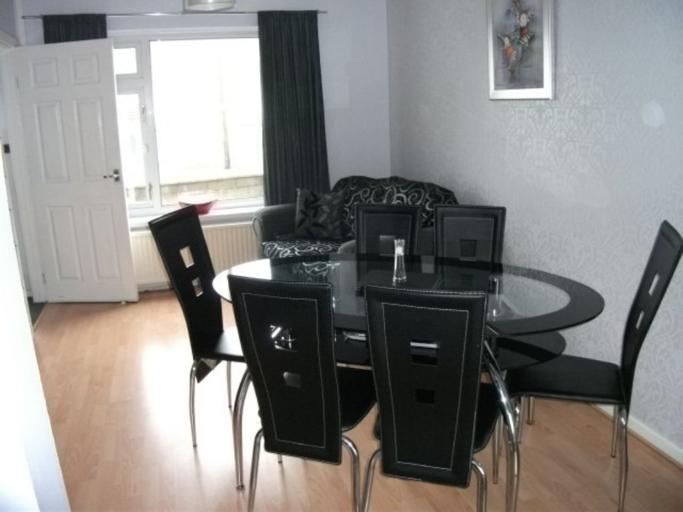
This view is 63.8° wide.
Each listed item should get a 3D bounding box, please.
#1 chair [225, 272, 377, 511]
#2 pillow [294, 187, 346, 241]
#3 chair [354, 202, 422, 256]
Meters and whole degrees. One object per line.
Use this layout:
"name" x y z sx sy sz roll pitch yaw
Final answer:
"chair" -0.161 0.646 2.398 0.607 1.250 0.392 -1 14 3
"pillow" -0.213 -0.411 5.078 0.453 0.540 0.199 2 23 -2
"chair" 0.291 -0.187 3.621 0.387 0.604 0.320 4 7 17
